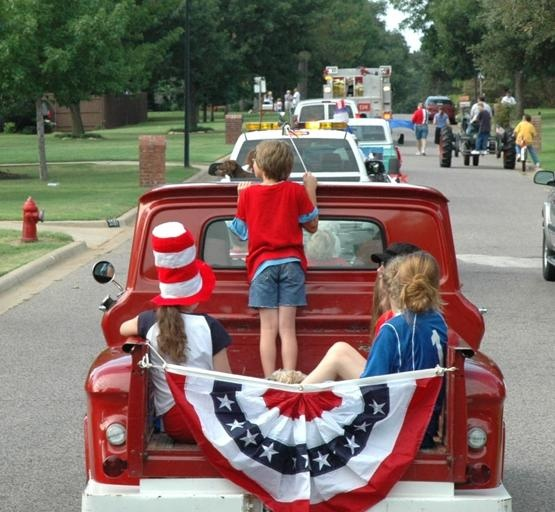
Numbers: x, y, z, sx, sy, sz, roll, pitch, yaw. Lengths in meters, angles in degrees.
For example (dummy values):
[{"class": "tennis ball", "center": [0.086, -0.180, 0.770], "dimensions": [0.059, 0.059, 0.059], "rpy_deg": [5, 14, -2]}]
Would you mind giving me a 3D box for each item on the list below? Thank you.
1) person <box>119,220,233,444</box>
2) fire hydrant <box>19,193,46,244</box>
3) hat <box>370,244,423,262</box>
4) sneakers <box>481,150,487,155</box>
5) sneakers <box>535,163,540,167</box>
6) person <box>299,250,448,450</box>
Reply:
[{"class": "person", "center": [-0.614, 0.467, 8.009], "dimensions": [0.599, 1.341, 0.609], "rpy_deg": [-5, 9, -23]}, {"class": "fire hydrant", "center": [-3.491, -0.578, 17.710], "dimensions": [0.322, 0.656, 1.152], "rpy_deg": [-3, 10, -11]}, {"class": "hat", "center": [0.777, -0.030, 8.246], "dimensions": [0.205, 0.074, 0.148], "rpy_deg": [-12, 1, 8]}, {"class": "sneakers", "center": [5.621, -2.841, 33.975], "dimensions": [0.175, 0.132, 0.099], "rpy_deg": [-1, -2, -12]}, {"class": "sneakers", "center": [6.506, -2.294, 31.250], "dimensions": [0.099, 0.142, 0.114], "rpy_deg": [4, 14, 2]}, {"class": "person", "center": [0.498, 0.614, 8.251], "dimensions": [1.204, 1.295, 0.578], "rpy_deg": [-1, -2, 28]}]
